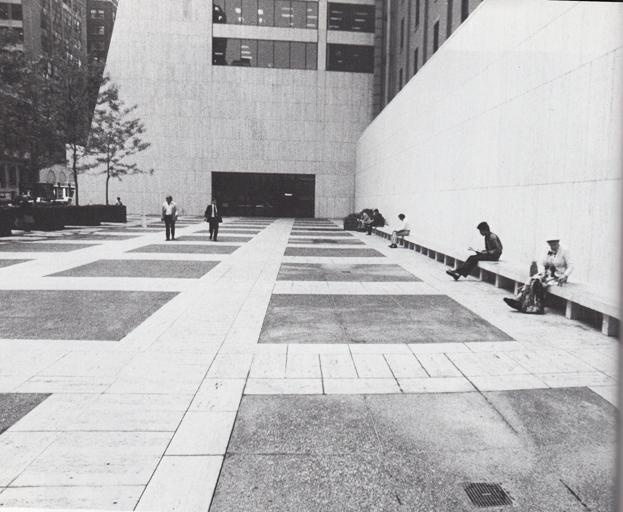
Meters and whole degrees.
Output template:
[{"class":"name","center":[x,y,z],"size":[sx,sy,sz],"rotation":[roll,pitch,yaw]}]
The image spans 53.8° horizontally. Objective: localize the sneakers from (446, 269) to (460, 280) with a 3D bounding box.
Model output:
[{"class":"sneakers","center":[3.259,0.413,14.281],"size":[0.176,0.171,0.492],"rotation":[-13,21,-7]}]

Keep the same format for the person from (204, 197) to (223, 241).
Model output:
[{"class":"person","center":[-3.653,-1.303,22.685],"size":[0.522,1.626,1.590],"rotation":[-2,15,-9]}]

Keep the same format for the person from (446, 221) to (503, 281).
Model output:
[{"class":"person","center":[3.753,-0.068,14.142],"size":[1.199,1.499,0.627],"rotation":[-4,-18,24]}]

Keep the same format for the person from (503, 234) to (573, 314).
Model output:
[{"class":"person","center":[4.083,0.351,11.052],"size":[1.009,1.446,0.752],"rotation":[1,7,-5]}]
